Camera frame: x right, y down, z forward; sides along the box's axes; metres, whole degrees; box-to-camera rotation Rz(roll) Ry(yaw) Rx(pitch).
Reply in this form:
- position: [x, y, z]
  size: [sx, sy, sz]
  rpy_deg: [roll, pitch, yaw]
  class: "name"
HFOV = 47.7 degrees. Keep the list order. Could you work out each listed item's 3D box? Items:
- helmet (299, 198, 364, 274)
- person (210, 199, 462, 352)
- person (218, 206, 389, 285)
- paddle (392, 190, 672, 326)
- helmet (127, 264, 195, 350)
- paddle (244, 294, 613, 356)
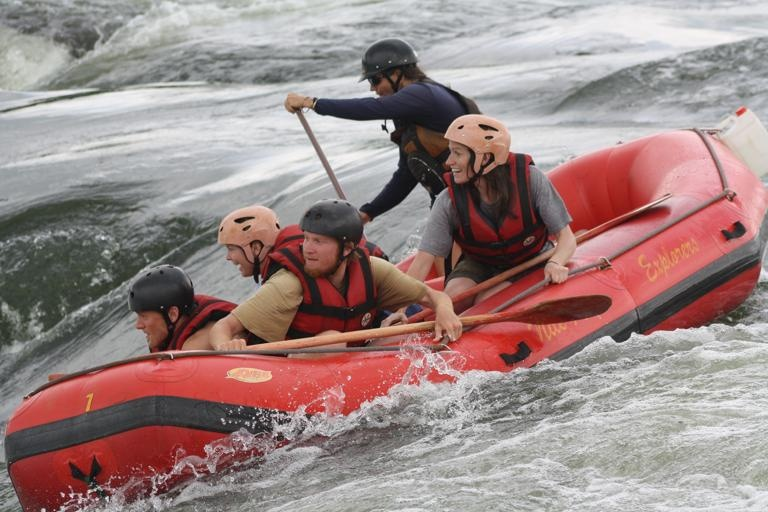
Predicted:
- position: [-0.434, -0.151, 7.029]
  size: [0.557, 0.602, 0.230]
  rpy_deg: [-24, 16, -30]
  class: "helmet"
- position: [-0.491, 0.223, 7.061]
  size: [1.872, 1.324, 0.500]
  rpy_deg: [-15, 15, -7]
  class: "person"
- position: [-0.769, -0.102, 7.345]
  size: [1.242, 0.395, 0.738]
  rpy_deg: [3, 3, -4]
  class: "person"
- position: [1.342, 0.041, 7.594]
  size: [3.125, 0.140, 0.326]
  rpy_deg: [-20, -30, 7]
  class: "paddle"
- position: [-1.835, 0.404, 7.270]
  size: [0.606, 0.564, 0.444]
  rpy_deg: [-13, 10, -25]
  class: "helmet"
- position: [0.345, 0.573, 7.113]
  size: [2.423, 0.084, 0.231]
  rpy_deg: [-7, -13, -3]
  class: "paddle"
